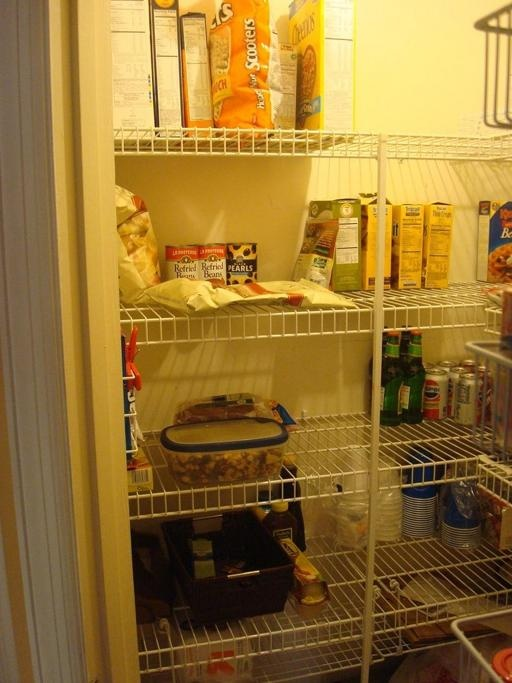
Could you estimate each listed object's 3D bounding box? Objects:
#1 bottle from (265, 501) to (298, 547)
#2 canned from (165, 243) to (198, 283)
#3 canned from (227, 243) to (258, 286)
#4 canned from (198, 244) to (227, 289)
[{"bbox_3d":[0.057,0.425,1.463,0.074,0.123,0.059,-3,12,0],"label":"bottle"},{"bbox_3d":[-0.153,-0.167,1.312,0.072,0.078,0.071,-2,10,-15],"label":"canned"},{"bbox_3d":[-0.036,-0.168,1.358,0.061,0.086,0.119,-1,12,9],"label":"canned"},{"bbox_3d":[-0.088,-0.163,1.396,0.081,0.127,0.077,-1,8,-6],"label":"canned"}]
